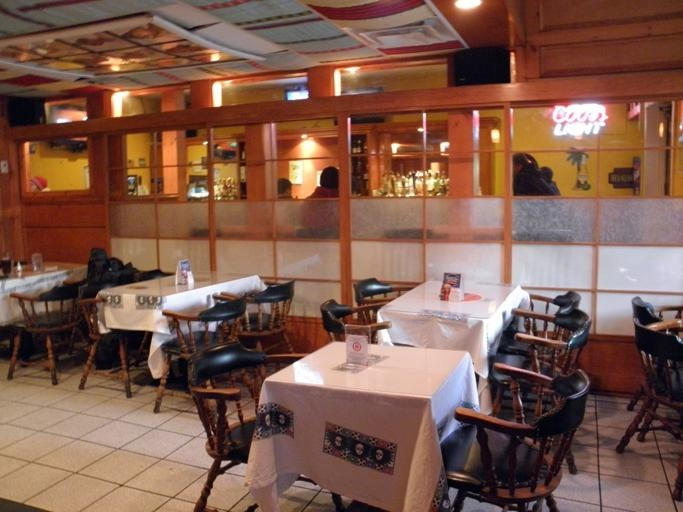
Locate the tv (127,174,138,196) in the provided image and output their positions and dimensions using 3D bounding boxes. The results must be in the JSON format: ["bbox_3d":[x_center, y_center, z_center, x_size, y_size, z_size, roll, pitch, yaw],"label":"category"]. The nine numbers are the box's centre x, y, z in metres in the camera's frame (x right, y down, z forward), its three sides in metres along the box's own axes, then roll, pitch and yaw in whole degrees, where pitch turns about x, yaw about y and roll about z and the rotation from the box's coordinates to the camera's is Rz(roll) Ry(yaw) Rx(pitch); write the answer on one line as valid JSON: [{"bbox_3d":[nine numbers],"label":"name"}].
[{"bbox_3d":[-3.573,-1.272,9.264,0.158,0.395,1.626,-6,7,-19],"label":"tv"}]

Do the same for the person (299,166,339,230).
[{"bbox_3d":[-0.189,-0.629,5.969,0.455,0.724,0.510,-1,8,12],"label":"person"}]

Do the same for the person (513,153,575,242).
[{"bbox_3d":[1.916,-0.575,5.141,0.531,0.858,0.258,-1,9,14],"label":"person"}]

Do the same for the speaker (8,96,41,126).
[{"bbox_3d":[-4.221,-1.965,7.194,0.461,0.390,0.171,-5,8,-21],"label":"speaker"}]

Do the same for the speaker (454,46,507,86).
[{"bbox_3d":[1.354,-1.853,5.155,0.523,0.302,0.272,1,1,29],"label":"speaker"}]
